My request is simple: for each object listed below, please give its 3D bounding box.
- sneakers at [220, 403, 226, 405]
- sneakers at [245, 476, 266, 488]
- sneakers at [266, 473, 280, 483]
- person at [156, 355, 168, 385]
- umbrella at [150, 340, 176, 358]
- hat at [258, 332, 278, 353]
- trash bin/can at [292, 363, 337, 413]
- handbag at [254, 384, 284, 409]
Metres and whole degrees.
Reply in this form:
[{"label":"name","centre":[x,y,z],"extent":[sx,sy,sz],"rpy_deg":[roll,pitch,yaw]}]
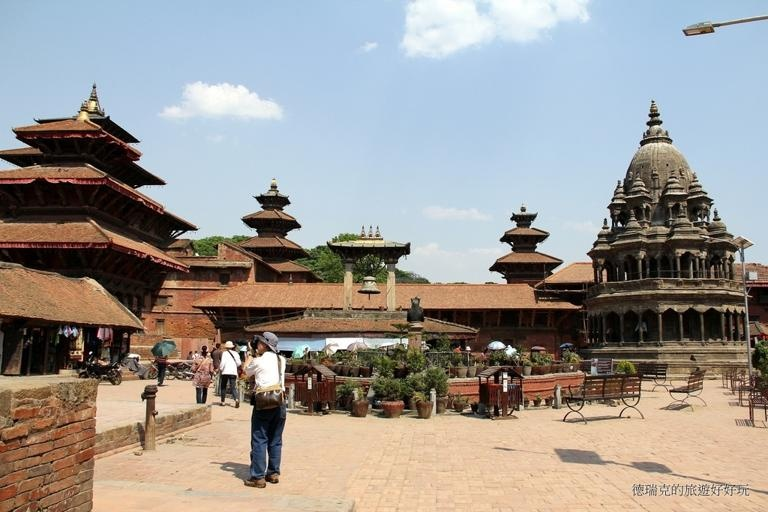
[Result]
[{"label":"sneakers","centre":[-6.327,5.781,28.995],"extent":[0.142,0.119,0.136],"rpy_deg":[-11,-16,44]},{"label":"sneakers","centre":[-3.418,6.000,19.667],"extent":[0.254,0.205,0.559],"rpy_deg":[5,-4,-35]},{"label":"sneakers","centre":[-3.001,5.980,19.963],"extent":[0.177,0.160,0.426],"rpy_deg":[2,-4,-16]},{"label":"person","centre":[-10.536,5.400,34.832],"extent":[0.474,1.406,1.568],"rpy_deg":[7,-14,-17]},{"label":"umbrella","centre":[-10.396,4.342,34.883],"extent":[0.790,0.837,1.176],"rpy_deg":[2,-13,0]},{"label":"hat","centre":[-3.146,2.327,20.372],"extent":[0.624,0.263,0.588],"rpy_deg":[22,-4,4]},{"label":"trash bin/can","centre":[-3.116,5.264,29.070],"extent":[2.156,2.091,1.745],"rpy_deg":[-6,-11,24]},{"label":"handbag","centre":[-3.120,3.743,19.768],"extent":[0.811,0.547,0.292],"rpy_deg":[-4,-5,-9]}]
